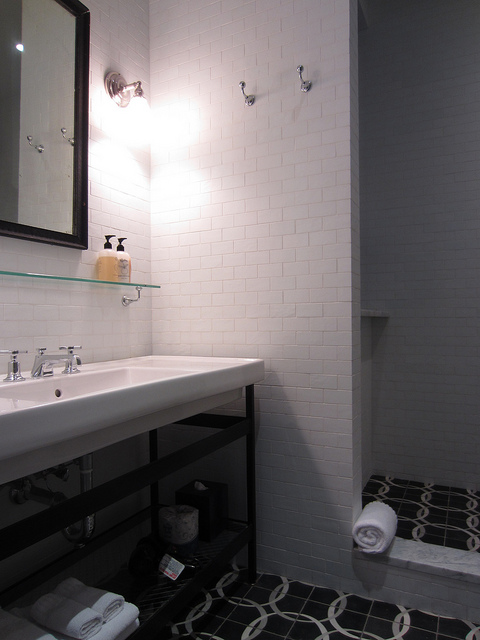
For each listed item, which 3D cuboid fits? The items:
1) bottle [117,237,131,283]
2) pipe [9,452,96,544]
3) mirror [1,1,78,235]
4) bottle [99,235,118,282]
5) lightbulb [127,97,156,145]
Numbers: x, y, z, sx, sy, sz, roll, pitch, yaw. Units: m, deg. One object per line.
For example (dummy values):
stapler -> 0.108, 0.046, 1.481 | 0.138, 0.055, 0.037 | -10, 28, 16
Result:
bottle -> -0.498, -0.258, 2.054 | 0.047, 0.198, 0.100 | -1, 2, -14
pipe -> -0.518, 0.543, 1.366 | 0.255, 0.058, 0.183 | 12, 2, 25
mirror -> -0.713, -0.762, 1.736 | 0.057, 0.861, 0.374 | -1, 2, 18
bottle -> -0.546, -0.243, 1.994 | 0.076, 0.165, 0.051 | -1, 2, -14
lightbulb -> -0.468, -0.954, 2.287 | 0.124, 0.226, 0.286 | -1, 2, -7
